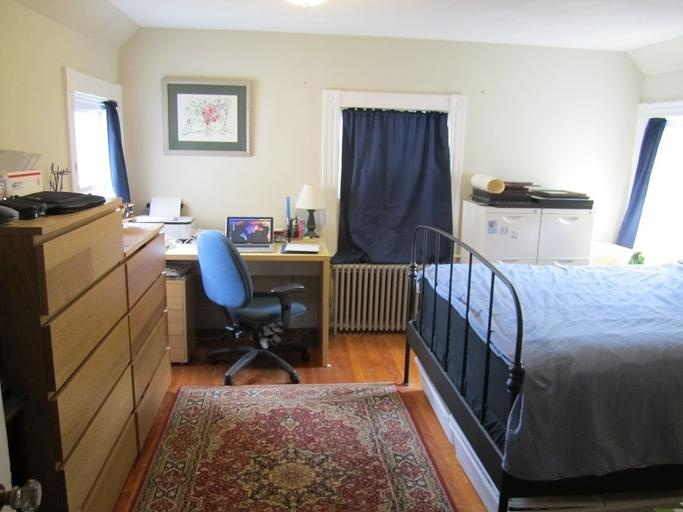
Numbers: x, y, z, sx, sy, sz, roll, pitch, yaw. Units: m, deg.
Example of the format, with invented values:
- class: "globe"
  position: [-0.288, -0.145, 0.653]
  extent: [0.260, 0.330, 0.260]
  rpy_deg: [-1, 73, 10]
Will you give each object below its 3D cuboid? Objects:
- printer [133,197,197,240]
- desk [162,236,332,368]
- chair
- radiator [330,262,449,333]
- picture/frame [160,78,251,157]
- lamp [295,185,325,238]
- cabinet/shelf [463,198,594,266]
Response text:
- class: "printer"
  position: [-1.476, -0.317, 4.285]
  extent: [0.391, 0.414, 0.409]
  rpy_deg: [-1, 6, -5]
- class: "desk"
  position: [-0.822, 0.411, 4.541]
  extent: [1.323, 0.959, 0.721]
  rpy_deg: [0, 8, -9]
- class: "chair"
  position: [-0.694, 0.368, 4.010]
  extent: [0.815, 1.091, 0.816]
  rpy_deg: [-2, 10, -35]
- class: "radiator"
  position: [0.334, 0.465, 4.853]
  extent: [0.931, 0.674, 0.791]
  rpy_deg: [-13, 3, -15]
- class: "picture/frame"
  position: [-1.200, -1.227, 4.426]
  extent: [0.593, 0.549, 0.050]
  rpy_deg: [1, 7, -6]
- class: "lamp"
  position: [-0.288, -0.390, 4.528]
  extent: [0.239, 0.473, 0.298]
  rpy_deg: [-1, 14, -5]
- class: "cabinet/shelf"
  position: [1.652, -0.205, 4.424]
  extent: [0.531, 0.535, 0.196]
  rpy_deg: [0, 8, -4]
